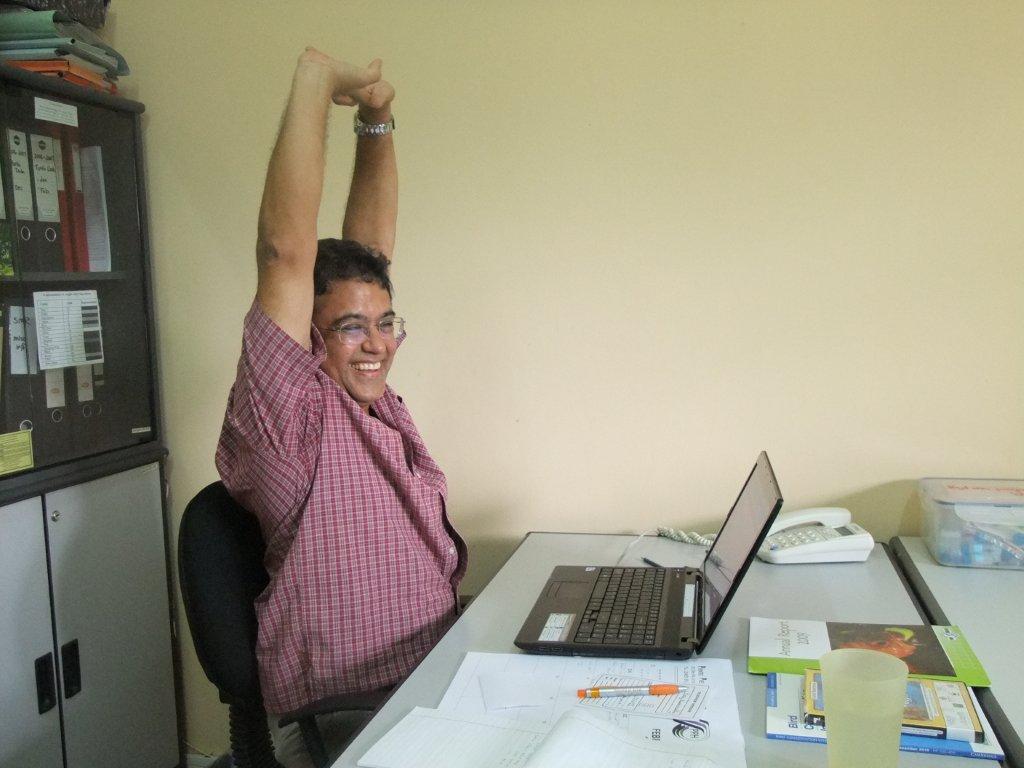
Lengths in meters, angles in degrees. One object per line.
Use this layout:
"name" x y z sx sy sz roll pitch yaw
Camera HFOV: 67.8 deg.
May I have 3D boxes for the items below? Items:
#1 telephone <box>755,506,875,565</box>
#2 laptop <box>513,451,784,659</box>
"telephone" 0.756 0.376 1.901 0.208 0.078 0.158 -2 0 3
"laptop" 0.270 0.265 1.558 0.438 0.283 0.446 0 8 16
